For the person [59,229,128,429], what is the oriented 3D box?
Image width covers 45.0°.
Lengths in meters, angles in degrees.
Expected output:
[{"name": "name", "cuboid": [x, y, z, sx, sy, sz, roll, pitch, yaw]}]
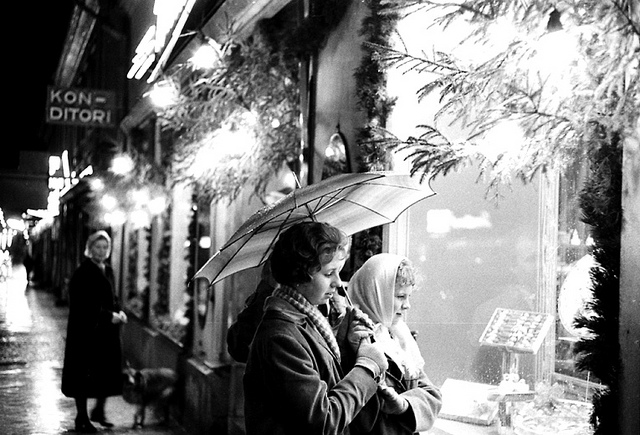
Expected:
[{"name": "person", "cuboid": [-2.155, 1.097, 7.423, 0.585, 1.855, 0.463, 5, -9, -17]}]

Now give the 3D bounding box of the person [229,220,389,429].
[{"name": "person", "cuboid": [-0.030, 0.636, 4.515, 0.763, 1.191, 0.404, 4, -8, -9]}]

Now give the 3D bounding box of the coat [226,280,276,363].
[{"name": "coat", "cuboid": [-0.499, 0.748, 5.478, 0.333, 0.615, 0.321, 3, 3, -24]}]

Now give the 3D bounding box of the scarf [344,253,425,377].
[{"name": "scarf", "cuboid": [0.396, 0.642, 4.921, 0.458, 0.840, 0.644, -3, 4, -7]}]

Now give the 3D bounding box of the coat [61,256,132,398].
[{"name": "coat", "cuboid": [-2.142, 1.103, 7.414, 0.569, 1.380, 0.521, 4, 6, -40]}]

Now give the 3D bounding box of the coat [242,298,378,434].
[{"name": "coat", "cuboid": [-0.068, 0.868, 4.424, 0.728, 0.781, 0.290, 4, -8, -6]}]
